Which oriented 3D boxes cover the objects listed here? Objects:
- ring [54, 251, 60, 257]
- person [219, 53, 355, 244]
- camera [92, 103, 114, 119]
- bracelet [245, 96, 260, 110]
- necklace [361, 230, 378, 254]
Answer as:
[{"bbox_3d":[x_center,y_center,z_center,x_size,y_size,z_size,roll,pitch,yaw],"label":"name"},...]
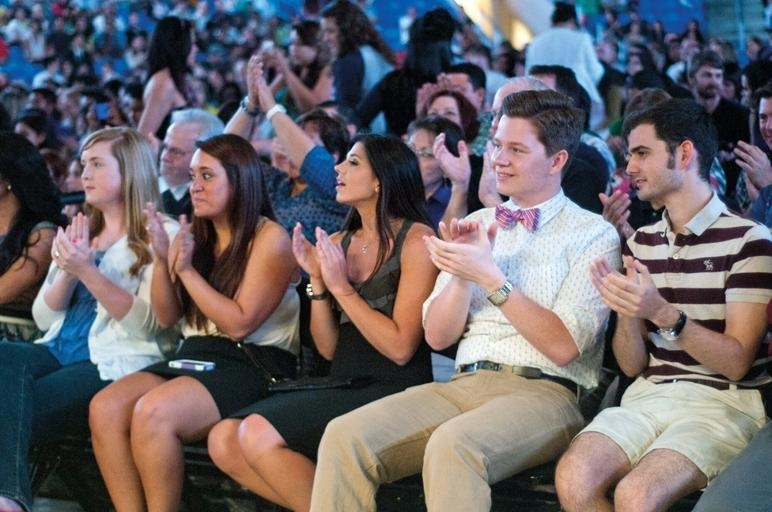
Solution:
[{"bbox_3d":[-1.719,-0.007,3.949,0.027,0.032,0.051,2,-6,-17],"label":"ring"},{"bbox_3d":[-0.601,-0.685,4.889,0.492,1.707,0.869,-8,33,-23],"label":"person"},{"bbox_3d":[-2.828,-1.438,7.548,0.198,0.196,0.052,-1,-20,-1],"label":"camera"},{"bbox_3d":[-0.872,-0.980,4.896,0.072,0.082,0.079,13,19,39],"label":"bracelet"},{"bbox_3d":[-0.080,-0.068,3.898,0.040,0.106,0.100,9,-14,-41],"label":"necklace"}]
